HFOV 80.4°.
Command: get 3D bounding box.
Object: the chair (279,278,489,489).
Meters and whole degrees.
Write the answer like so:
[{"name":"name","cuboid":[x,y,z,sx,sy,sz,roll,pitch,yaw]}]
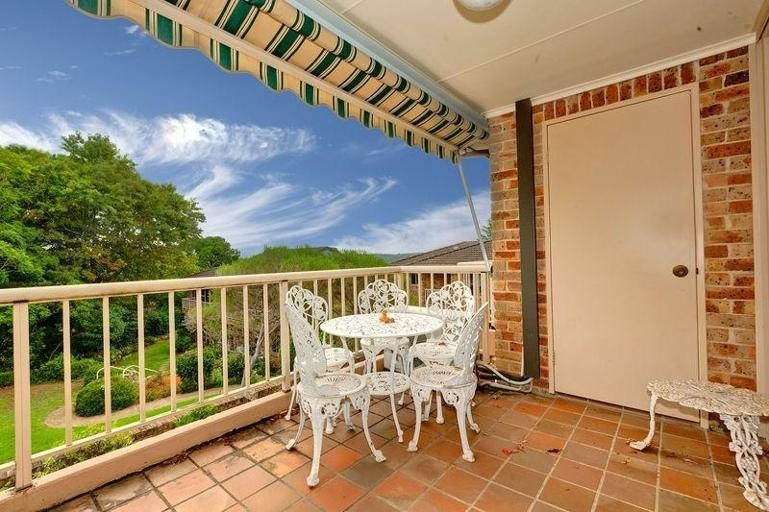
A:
[{"name":"chair","cuboid":[-0.254,1.270,4.868,1.633,1.741,1.161,0,-2,-15]}]
